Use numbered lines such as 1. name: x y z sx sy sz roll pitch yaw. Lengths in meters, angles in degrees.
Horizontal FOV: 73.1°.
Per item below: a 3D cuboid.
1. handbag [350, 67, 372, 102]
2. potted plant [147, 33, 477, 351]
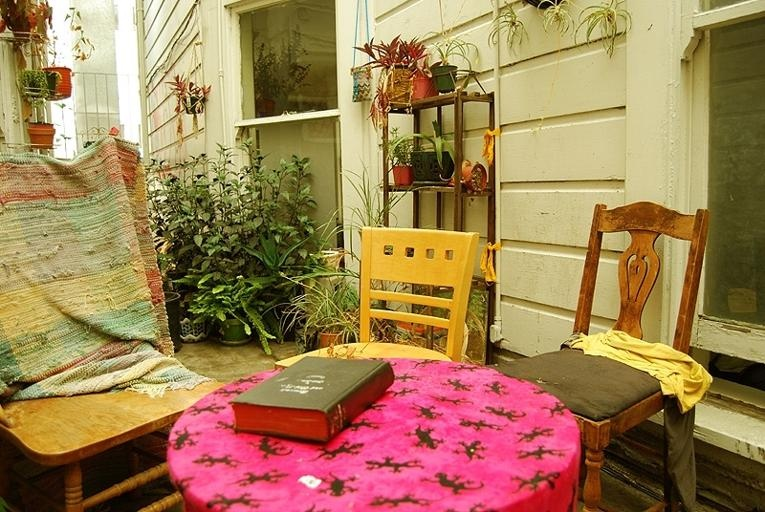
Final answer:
1. handbag: -0.150 -1.245 3.744 0.139 0.225 0.198 0 12 0
2. potted plant: -1.097 -0.164 4.607 3.635 3.099 1.235 0 -3 0
